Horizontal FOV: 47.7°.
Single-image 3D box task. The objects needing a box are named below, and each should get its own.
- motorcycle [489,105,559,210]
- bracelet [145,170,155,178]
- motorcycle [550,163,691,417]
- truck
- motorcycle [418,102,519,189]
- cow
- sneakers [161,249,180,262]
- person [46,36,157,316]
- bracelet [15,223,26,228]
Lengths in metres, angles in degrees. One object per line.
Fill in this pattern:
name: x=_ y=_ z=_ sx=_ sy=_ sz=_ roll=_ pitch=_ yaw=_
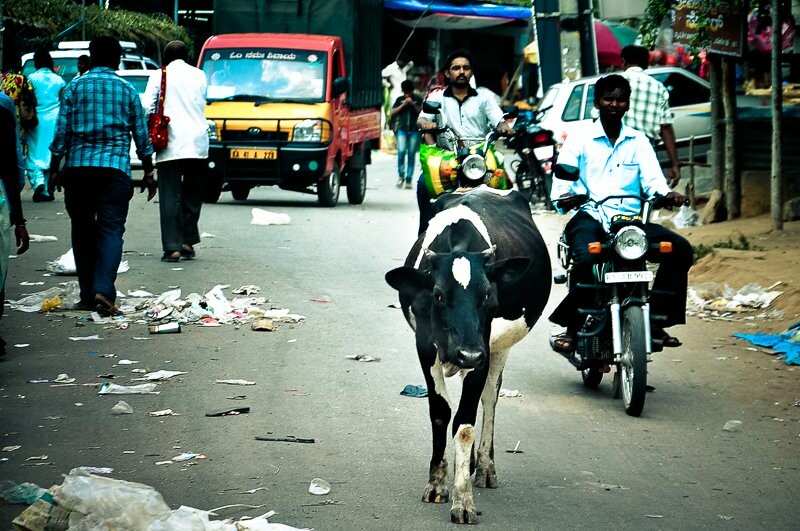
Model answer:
motorcycle: x=2.529 y=-2.011 z=17.083 sx=1.437 sy=1.532 sz=2.428 roll=-2 pitch=16 yaw=4
bracelet: x=-2.822 y=-1.034 z=10.214 sx=0.090 sy=0.031 sz=0.068 roll=-15 pitch=-5 yaw=34
motorcycle: x=1.767 y=0.164 z=7.724 sx=0.969 sy=2.052 sz=0.740 roll=5 pitch=9 yaw=37
truck: x=-2.160 y=-2.963 z=18.438 sx=2.471 sy=2.136 sz=4.192 roll=1 pitch=2 yaw=10
motorcycle: x=0.646 y=-1.175 z=8.948 sx=0.738 sy=0.690 sz=1.102 roll=-1 pitch=5 yaw=-7
cow: x=0.495 y=0.556 z=6.360 sx=0.875 sy=2.058 sz=1.748 roll=2 pitch=7 yaw=16
sneakers: x=-3.008 y=-0.136 z=11.909 sx=0.177 sy=0.157 sz=0.390 roll=0 pitch=-1 yaw=-10
person: x=-3.134 y=-0.984 z=9.704 sx=0.917 sy=2.941 sz=0.906 roll=-5 pitch=9 yaw=-36
bracelet: x=-3.629 y=-0.392 z=8.654 sx=0.061 sy=0.064 sz=0.059 roll=10 pitch=15 yaw=20
